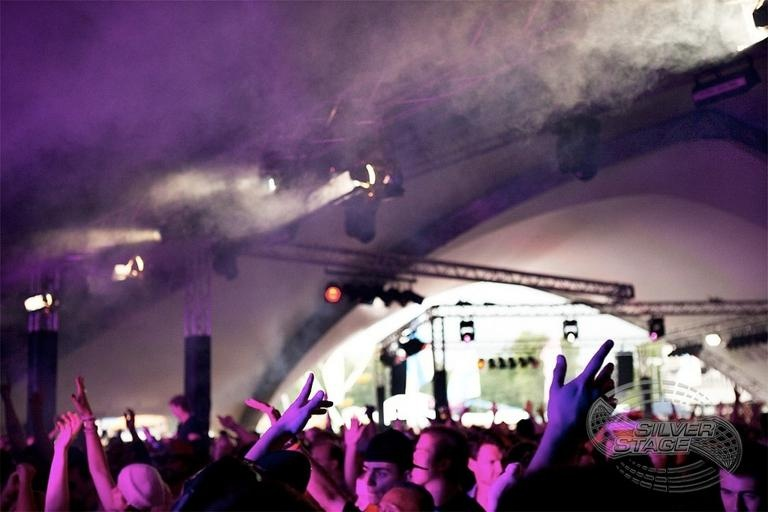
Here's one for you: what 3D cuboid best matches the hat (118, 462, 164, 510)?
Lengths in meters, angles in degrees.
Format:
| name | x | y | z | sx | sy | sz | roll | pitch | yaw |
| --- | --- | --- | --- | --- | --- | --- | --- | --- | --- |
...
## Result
| name | x | y | z | sx | sy | sz | roll | pitch | yaw |
| --- | --- | --- | --- | --- | --- | --- | --- | --- | --- |
| hat | -2.541 | 2.401 | 7.933 | 0.370 | 0.506 | 0.404 | 8 | -58 | -43 |

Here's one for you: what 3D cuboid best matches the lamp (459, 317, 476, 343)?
| name | x | y | z | sx | sy | sz | roll | pitch | yaw |
| --- | --- | --- | --- | --- | --- | --- | --- | --- | --- |
| lamp | 2.234 | 1.985 | 19.980 | 0.383 | 0.574 | 0.213 | 1 | -12 | 4 |

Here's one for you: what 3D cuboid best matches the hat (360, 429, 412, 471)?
| name | x | y | z | sx | sy | sz | roll | pitch | yaw |
| --- | --- | --- | --- | --- | --- | --- | --- | --- | --- |
| hat | 0.086 | 2.036 | 7.923 | 0.565 | 0.443 | 0.555 | 5 | -11 | -21 |

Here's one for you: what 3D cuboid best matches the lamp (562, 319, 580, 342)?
| name | x | y | z | sx | sy | sz | roll | pitch | yaw |
| --- | --- | --- | --- | --- | --- | --- | --- | --- | --- |
| lamp | 5.182 | 2.060 | 20.837 | 0.390 | 0.619 | 0.553 | -5 | -15 | 19 |
